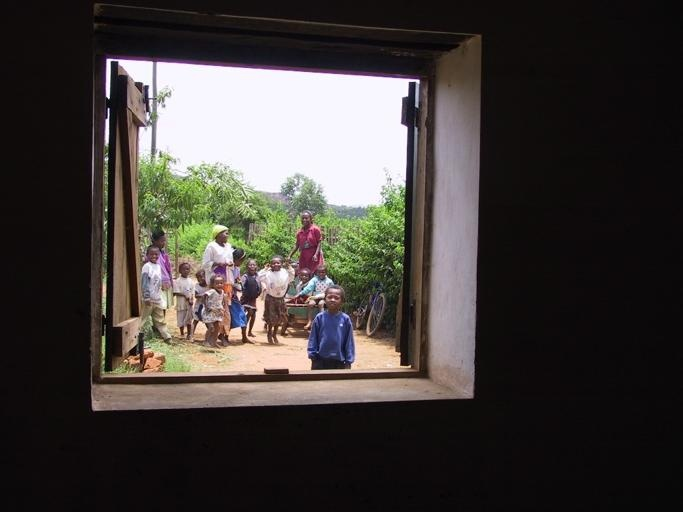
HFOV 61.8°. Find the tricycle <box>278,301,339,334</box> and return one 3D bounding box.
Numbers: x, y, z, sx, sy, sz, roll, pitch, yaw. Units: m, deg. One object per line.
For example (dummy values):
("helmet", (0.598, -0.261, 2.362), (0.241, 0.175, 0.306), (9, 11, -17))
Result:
("tricycle", (-0.612, 0.917, 8.631), (0.762, 0.584, 0.544), (2, -3, -13))

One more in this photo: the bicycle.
("bicycle", (0.507, 0.810, 9.665), (0.568, 0.753, 1.177), (29, 0, -10))
